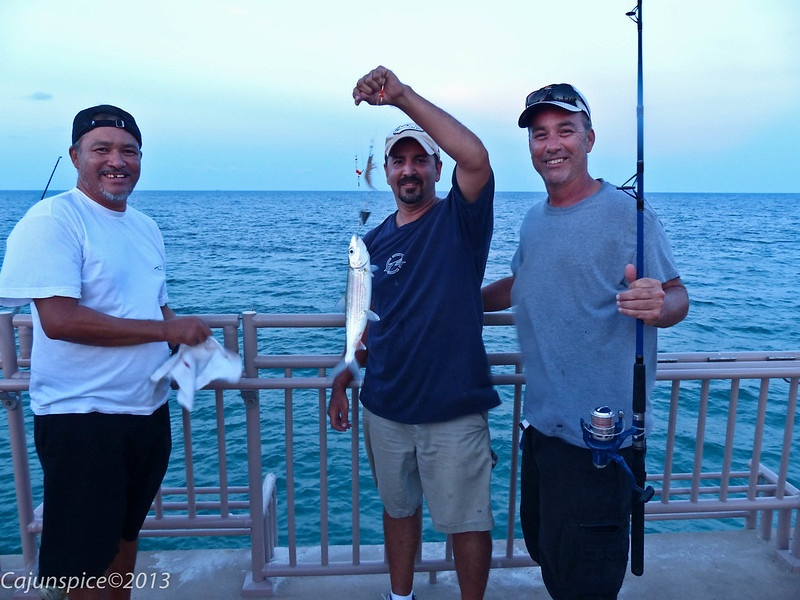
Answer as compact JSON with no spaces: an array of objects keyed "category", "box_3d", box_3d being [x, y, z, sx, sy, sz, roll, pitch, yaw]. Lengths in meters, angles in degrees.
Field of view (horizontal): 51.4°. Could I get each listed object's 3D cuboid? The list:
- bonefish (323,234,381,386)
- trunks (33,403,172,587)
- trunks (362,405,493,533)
[{"category":"bonefish","box_3d":[-0.274,0.070,5.091,0.290,0.932,0.444,0,4,-5]},{"category":"trunks","box_3d":[-1.735,1.123,4.865,0.720,0.971,0.303,-2,5,-25]},{"category":"trunks","box_3d":[0.158,0.924,5.397,0.726,0.760,1.049,8,9,21]}]
